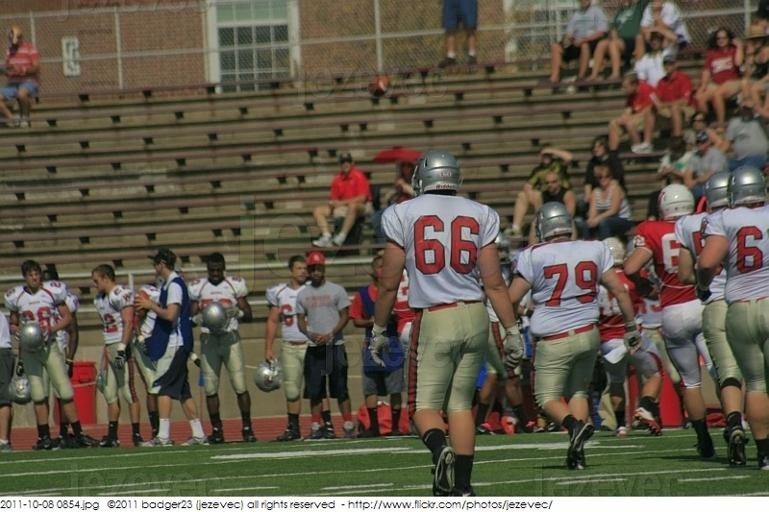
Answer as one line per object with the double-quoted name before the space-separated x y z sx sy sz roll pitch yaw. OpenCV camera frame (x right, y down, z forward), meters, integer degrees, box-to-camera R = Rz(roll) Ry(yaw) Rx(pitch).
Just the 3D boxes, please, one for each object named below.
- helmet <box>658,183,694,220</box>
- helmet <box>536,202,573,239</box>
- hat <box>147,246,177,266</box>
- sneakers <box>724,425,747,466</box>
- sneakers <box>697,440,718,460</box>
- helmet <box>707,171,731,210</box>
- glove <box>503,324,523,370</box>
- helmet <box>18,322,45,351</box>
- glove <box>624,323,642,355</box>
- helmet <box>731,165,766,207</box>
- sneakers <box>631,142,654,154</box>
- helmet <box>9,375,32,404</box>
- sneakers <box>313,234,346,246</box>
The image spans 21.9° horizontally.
"helmet" 4.409 -0.799 30.170 0.435 0.462 0.570 -3 9 10
"helmet" 2.505 -0.499 29.376 0.439 0.486 0.570 -5 7 -7
"hat" -3.693 0.058 32.822 0.468 0.376 0.331 -7 18 0
"sneakers" 5.140 2.774 29.071 0.228 0.663 0.284 -1 29 8
"sneakers" 4.793 2.925 29.740 0.145 0.292 0.423 -9 -13 -2
"helmet" 4.937 -0.953 29.220 0.312 0.521 0.562 -4 -1 -27
"glove" 1.853 1.327 28.834 0.397 0.544 0.219 4 8 10
"helmet" -5.805 1.337 32.583 0.365 0.430 0.418 -1 -2 -9
"glove" 3.707 1.245 29.883 0.219 0.442 0.544 -5 -1 5
"helmet" 5.292 -0.998 28.905 0.436 0.491 0.601 -3 9 11
"sneakers" 4.666 -1.919 36.045 0.341 0.189 0.134 -1 -16 2
"helmet" -6.024 2.239 32.903 0.390 0.529 0.394 -1 3 -7
"sneakers" -0.995 -0.242 35.988 0.593 0.252 0.201 3 -1 11
